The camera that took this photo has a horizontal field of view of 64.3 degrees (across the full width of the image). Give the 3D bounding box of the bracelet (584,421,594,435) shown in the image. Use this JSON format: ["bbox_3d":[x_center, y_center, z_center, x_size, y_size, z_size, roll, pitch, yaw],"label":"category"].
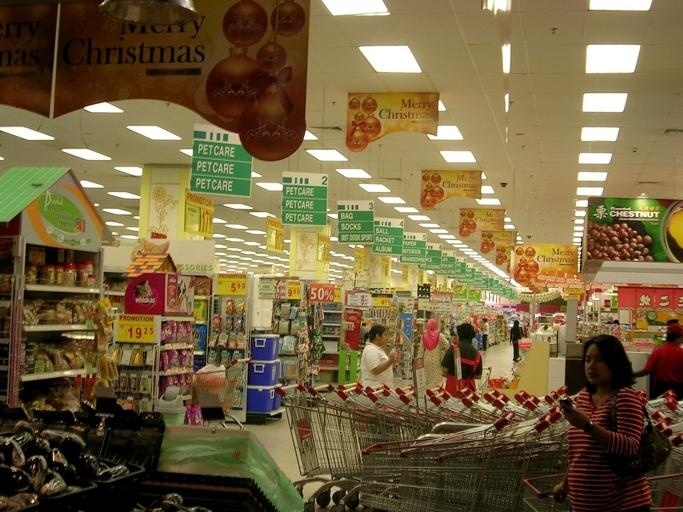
[{"bbox_3d":[1.171,0.809,2.566,0.038,0.060,0.054,5,-9,0],"label":"bracelet"}]

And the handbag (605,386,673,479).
[{"bbox_3d":[1.486,0.916,2.683,0.354,0.351,0.118,4,-7,-20],"label":"handbag"}]

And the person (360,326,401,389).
[{"bbox_3d":[0.470,1.276,6.625,0.310,0.883,0.373,0,-3,29],"label":"person"}]

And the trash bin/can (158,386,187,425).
[{"bbox_3d":[-1.018,0.905,3.268,0.154,0.229,0.143,-1,-8,17],"label":"trash bin/can"}]

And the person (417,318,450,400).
[{"bbox_3d":[1.522,1.688,9.022,0.437,1.927,0.513,3,-2,23],"label":"person"}]
